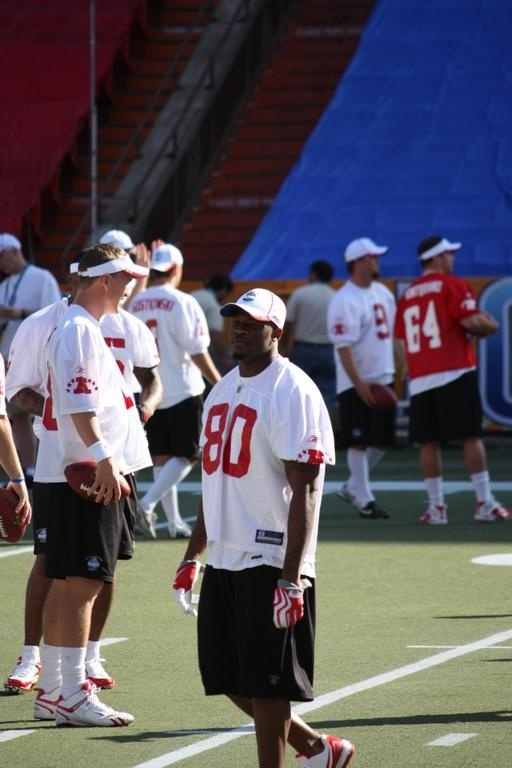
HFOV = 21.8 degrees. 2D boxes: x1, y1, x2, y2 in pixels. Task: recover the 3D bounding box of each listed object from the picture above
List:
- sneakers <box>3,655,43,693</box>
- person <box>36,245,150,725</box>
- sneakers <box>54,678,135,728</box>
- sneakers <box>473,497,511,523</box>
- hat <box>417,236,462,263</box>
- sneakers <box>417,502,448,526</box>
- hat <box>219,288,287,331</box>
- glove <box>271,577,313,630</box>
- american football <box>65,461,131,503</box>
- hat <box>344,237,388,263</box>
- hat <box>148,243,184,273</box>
[{"bbox_3d":[-0.863,1.075,4.881,0.075,0.093,0.193,1,-8,5],"label":"sneakers"},{"bbox_3d":[-0.584,0.330,4.613,0.365,1.651,0.507,0,-5,-5],"label":"person"},{"bbox_3d":[-0.562,1.084,4.529,0.337,0.194,0.114,0,-9,1],"label":"sneakers"},{"bbox_3d":[1.607,0.822,8.728,0.270,0.157,0.150,2,0,-34],"label":"sneakers"},{"bbox_3d":[1.233,-0.882,8.770,0.271,0.088,0.175,-20,5,6],"label":"hat"},{"bbox_3d":[1.209,0.869,8.871,0.275,0.191,0.092,0,1,2],"label":"sneakers"},{"bbox_3d":[0.006,-0.201,3.752,0.169,0.091,0.106,31,-11,-40],"label":"hat"},{"bbox_3d":[0.099,0.578,3.533,0.099,0.132,0.214,0,-5,3],"label":"glove"},{"bbox_3d":[-0.531,0.314,4.410,0.176,0.112,0.116,23,-12,-6],"label":"american football"},{"bbox_3d":[0.753,-0.921,9.141,0.304,0.164,0.215,-11,11,4],"label":"hat"},{"bbox_3d":[-0.564,-0.779,8.326,0.140,0.120,0.223,1,7,14],"label":"hat"}]
